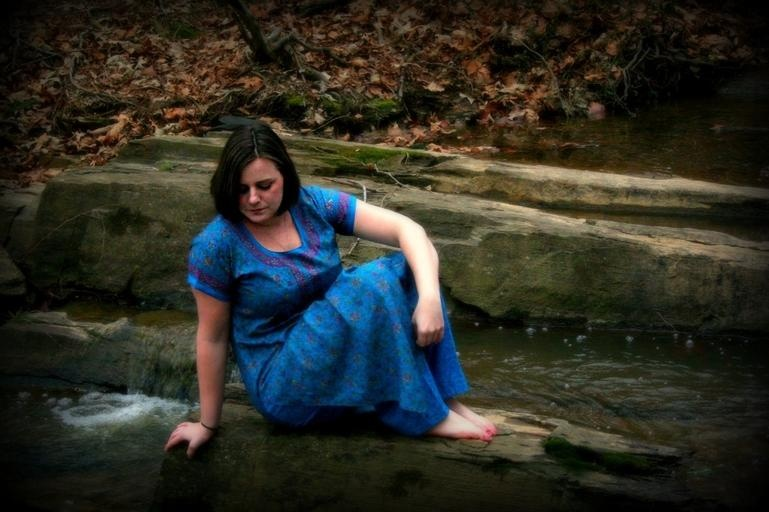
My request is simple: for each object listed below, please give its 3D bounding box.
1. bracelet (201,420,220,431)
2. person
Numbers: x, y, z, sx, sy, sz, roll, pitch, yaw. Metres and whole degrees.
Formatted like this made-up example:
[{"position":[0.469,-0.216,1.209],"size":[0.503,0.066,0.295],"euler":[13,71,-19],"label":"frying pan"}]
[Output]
[{"position":[-1.016,0.983,3.720],"size":[0.104,0.020,0.066],"euler":[6,-4,17],"label":"bracelet"},{"position":[-0.384,0.210,3.673],"size":[1.628,1.888,0.400],"euler":[2,8,5],"label":"person"}]
